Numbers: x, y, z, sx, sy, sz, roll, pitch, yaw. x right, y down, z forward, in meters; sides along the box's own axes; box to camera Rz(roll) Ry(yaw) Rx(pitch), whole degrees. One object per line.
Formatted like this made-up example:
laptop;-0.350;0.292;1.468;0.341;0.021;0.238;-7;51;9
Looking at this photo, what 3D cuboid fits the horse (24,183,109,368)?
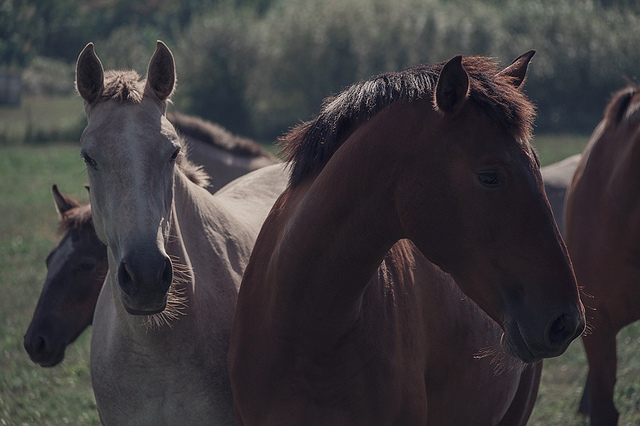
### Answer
horse;-4.068;1.162;16.139;0.685;3.027;1.584;6;-18;6
